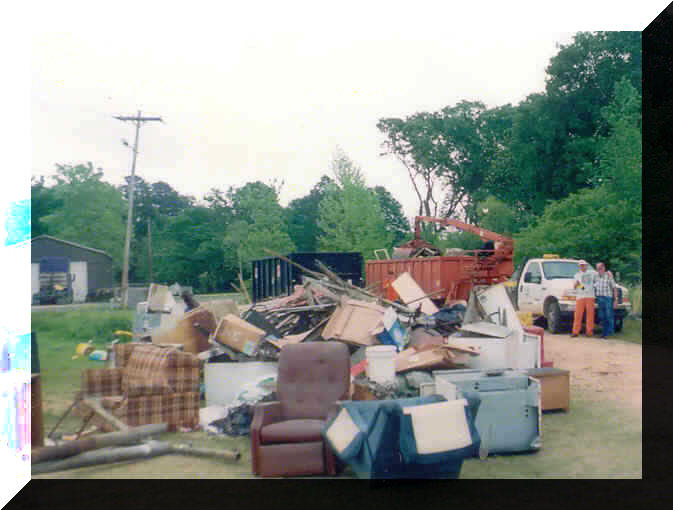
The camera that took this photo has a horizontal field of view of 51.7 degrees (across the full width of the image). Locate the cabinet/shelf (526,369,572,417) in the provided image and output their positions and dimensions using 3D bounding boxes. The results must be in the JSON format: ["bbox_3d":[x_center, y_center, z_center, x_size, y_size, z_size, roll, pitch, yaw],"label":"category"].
[{"bbox_3d":[2.962,2.036,10.232,0.808,0.580,0.800,-3,-7,7],"label":"cabinet/shelf"}]

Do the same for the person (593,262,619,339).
[{"bbox_3d":[4.475,0.762,11.625,0.322,1.229,0.175,-1,-5,18],"label":"person"}]

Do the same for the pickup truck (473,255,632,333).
[{"bbox_3d":[3.965,0.695,12.451,1.208,0.977,2.018,1,-4,-14],"label":"pickup truck"}]
